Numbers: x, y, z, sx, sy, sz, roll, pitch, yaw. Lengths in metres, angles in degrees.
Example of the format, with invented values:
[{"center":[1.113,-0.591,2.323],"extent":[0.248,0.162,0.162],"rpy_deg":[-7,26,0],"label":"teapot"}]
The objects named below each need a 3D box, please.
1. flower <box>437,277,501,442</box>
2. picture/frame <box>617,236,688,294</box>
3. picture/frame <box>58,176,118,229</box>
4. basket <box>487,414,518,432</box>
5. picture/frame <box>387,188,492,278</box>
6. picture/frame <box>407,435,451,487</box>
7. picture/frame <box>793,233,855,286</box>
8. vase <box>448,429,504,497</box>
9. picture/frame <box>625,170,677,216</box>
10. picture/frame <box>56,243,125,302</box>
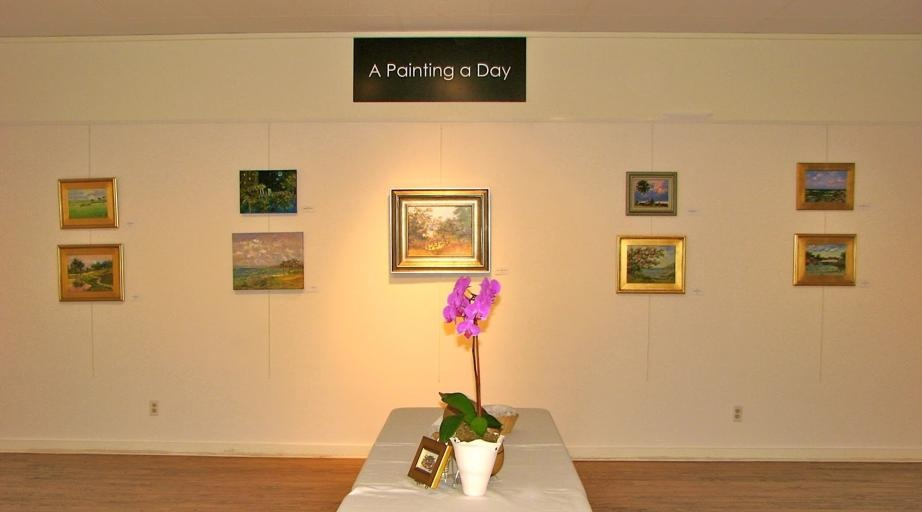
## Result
[{"center":[0.126,1.097,9.701],"extent":[0.661,1.634,0.490],"rpy_deg":[2,0,0],"label":"flower"},{"center":[2.425,0.099,11.542],"extent":[0.864,0.597,0.076],"rpy_deg":[0,2,1],"label":"picture/frame"},{"center":[-4.755,-0.688,11.628],"extent":[0.803,0.573,0.052],"rpy_deg":[0,1,-2],"label":"picture/frame"},{"center":[0.486,1.847,10.009],"extent":[0.222,0.136,0.208],"rpy_deg":[1,1,34],"label":"basket"},{"center":[-0.258,-0.317,11.533],"extent":[1.375,0.949,0.103],"rpy_deg":[0,2,2],"label":"picture/frame"},{"center":[-0.326,2.190,9.573],"extent":[0.512,0.463,0.133],"rpy_deg":[15,-4,28],"label":"picture/frame"},{"center":[4.602,0.042,11.518],"extent":[0.800,0.595,0.048],"rpy_deg":[0,1,2],"label":"picture/frame"},{"center":[0.115,2.241,9.590],"extent":[0.639,0.506,0.574],"rpy_deg":[1,-9,-3],"label":"vase"},{"center":[2.423,-0.802,11.538],"extent":[0.689,0.494,0.045],"rpy_deg":[1,0,0],"label":"picture/frame"},{"center":[-4.722,0.205,11.643],"extent":[0.898,0.713,0.106],"rpy_deg":[-1,0,-2],"label":"picture/frame"}]
